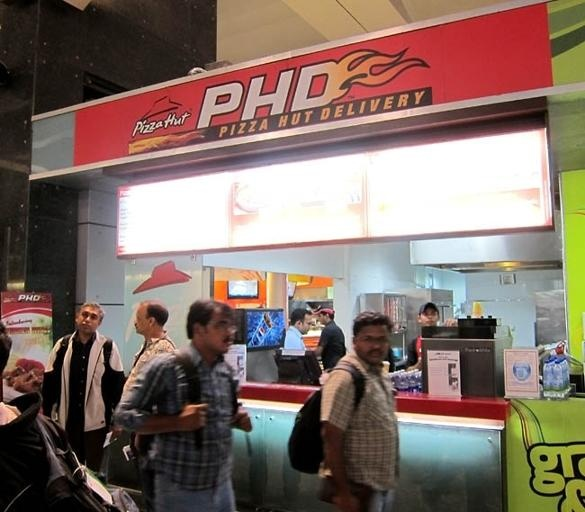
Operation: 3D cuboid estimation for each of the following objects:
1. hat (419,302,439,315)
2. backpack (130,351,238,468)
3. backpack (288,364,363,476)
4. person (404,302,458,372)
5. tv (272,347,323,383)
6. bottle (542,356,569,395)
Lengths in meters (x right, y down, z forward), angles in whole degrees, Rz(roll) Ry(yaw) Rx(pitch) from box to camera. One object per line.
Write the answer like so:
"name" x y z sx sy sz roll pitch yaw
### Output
"hat" 1.376 0.509 4.820 0.131 0.175 0.181 6 4 11
"backpack" -0.431 0.623 1.921 0.274 0.418 0.473 -12 -15 35
"backpack" 0.095 0.811 2.266 0.236 0.424 0.188 3 -2 22
"person" 1.273 0.744 4.369 0.454 0.621 1.486 -1 -5 14
"tv" 0.033 0.982 4.114 0.380 0.334 0.209 -5 -10 38
"bottle" 1.618 0.737 2.936 0.140 0.239 0.251 -2 -6 30
